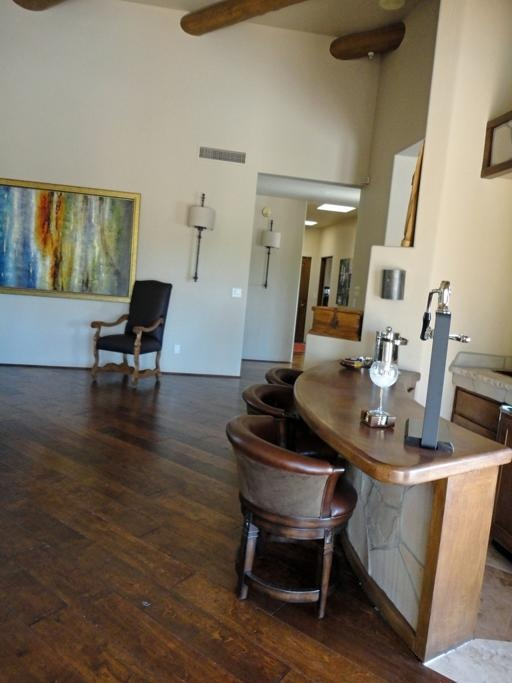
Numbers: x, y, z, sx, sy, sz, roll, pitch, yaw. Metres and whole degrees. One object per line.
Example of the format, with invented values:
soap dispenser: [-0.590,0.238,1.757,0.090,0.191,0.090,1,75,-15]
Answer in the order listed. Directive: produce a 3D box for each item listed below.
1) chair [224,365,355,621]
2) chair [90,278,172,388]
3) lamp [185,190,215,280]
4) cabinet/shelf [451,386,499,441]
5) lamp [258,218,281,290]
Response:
chair: [0.104,0.469,2.088,0.665,0.962,0.700,-1,15,-2]
chair: [-1.348,-0.134,5.456,0.699,1.083,0.803,7,7,13]
lamp: [-0.615,-1.154,5.631,0.311,0.983,0.263,4,7,-8]
cabinet/shelf: [1.125,0.361,2.591,0.114,0.161,0.218,11,15,-26]
lamp: [0.200,-1.312,7.625,0.289,1.047,0.324,5,6,2]
